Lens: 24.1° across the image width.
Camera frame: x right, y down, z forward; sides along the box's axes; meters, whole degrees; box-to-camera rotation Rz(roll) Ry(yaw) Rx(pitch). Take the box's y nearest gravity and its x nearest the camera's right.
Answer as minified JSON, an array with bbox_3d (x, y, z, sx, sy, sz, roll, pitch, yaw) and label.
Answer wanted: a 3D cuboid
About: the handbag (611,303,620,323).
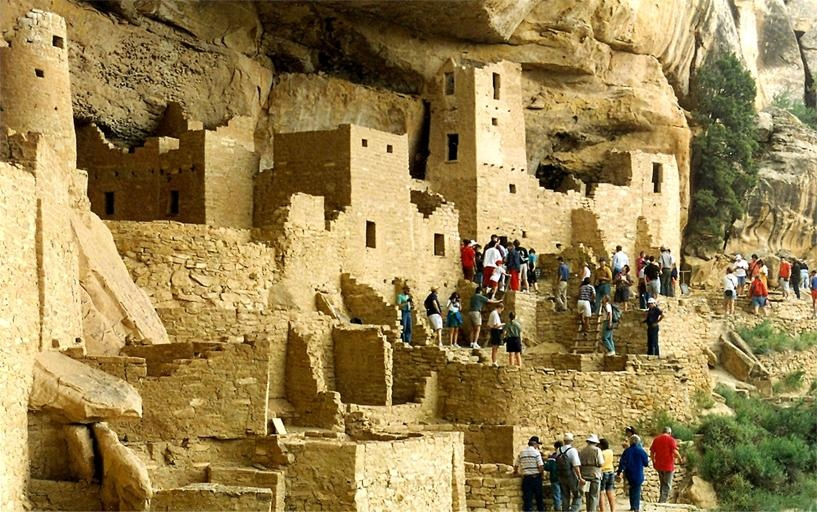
[{"bbox_3d":[6.062,1.721,56.159,0.163,0.522,0.686,1,-2,12],"label":"handbag"}]

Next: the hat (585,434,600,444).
[{"bbox_3d":[4.799,4.817,49.732,0.280,0.146,0.356,3,3,4],"label":"hat"}]

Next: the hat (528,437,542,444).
[{"bbox_3d":[3.331,4.921,50.067,0.215,0.139,0.291,8,6,34],"label":"hat"}]
